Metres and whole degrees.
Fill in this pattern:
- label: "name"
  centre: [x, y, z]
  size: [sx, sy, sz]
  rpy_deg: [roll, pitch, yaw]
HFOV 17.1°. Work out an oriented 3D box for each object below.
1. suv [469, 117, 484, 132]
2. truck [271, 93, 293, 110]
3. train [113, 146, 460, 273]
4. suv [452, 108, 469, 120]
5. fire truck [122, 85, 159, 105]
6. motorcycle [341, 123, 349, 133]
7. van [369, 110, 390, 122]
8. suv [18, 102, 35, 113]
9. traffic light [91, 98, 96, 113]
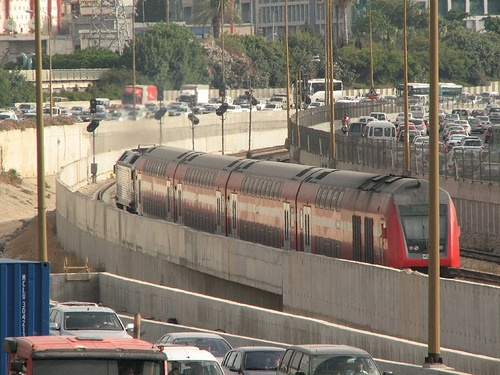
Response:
- label: "suv"
  centre: [22.461, -5.703, 164.293]
  size: [1.439, 1.347, 1.805]
  rpy_deg: [-1, 7, 8]
- label: "truck"
  centre: [3.624, -10.425, 206.856]
  size: [1.638, 1.823, 3.093]
  rpy_deg: [1, -1, 12]
- label: "train"
  centre: [-0.343, 1.281, 120.546]
  size: [4.879, 6.749, 34.223]
  rpy_deg: [-7, 9, -42]
- label: "suv"
  centre: [24.164, -7.788, 189.061]
  size: [1.167, 1.678, 4.157]
  rpy_deg: [-1, 3, -2]
- label: "fire truck"
  centre: [-12.606, -10.287, 192.570]
  size: [1.532, 2.813, 6.311]
  rpy_deg: [-1, 1, 13]
- label: "motorcycle"
  centre: [9.384, -5.513, 164.127]
  size: [0.852, 1.134, 3.374]
  rpy_deg: [-1, 4, 0]
- label: "van"
  centre: [13.015, -6.870, 168.135]
  size: [1.566, 1.436, 2.546]
  rpy_deg: [0, -2, 3]
- label: "suv"
  centre: [-24.720, -8.452, 182.852]
  size: [1.135, 1.226, 2.533]
  rpy_deg: [-1, -2, -18]
- label: "traffic light"
  centre: [-13.000, -6.355, 136.338]
  size: [0.369, 1.065, 0.780]
  rpy_deg: [-3, 7, -18]
